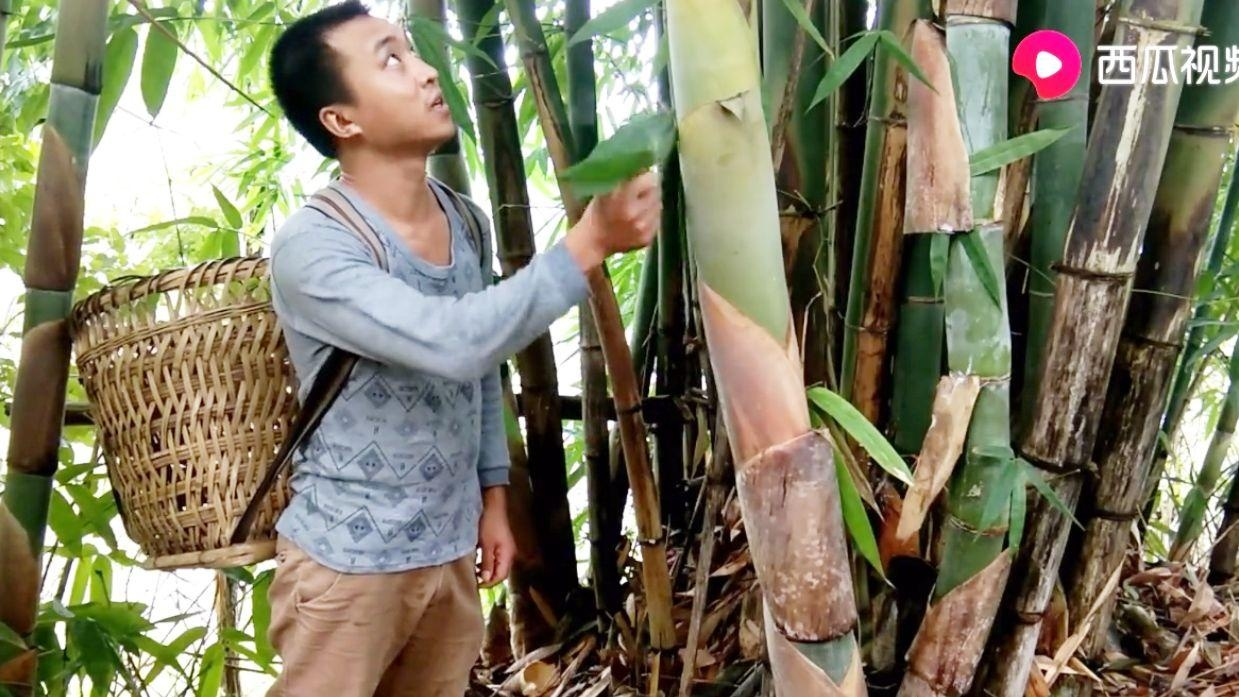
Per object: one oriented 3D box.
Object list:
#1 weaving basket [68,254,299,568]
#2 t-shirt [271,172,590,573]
[{"bbox_3d":[-0.858,0.132,1.990,0.460,0.600,0.152,-3,7,15],"label":"weaving basket"},{"bbox_3d":[-0.400,0.053,2.114,0.700,0.751,0.642,5,10,5],"label":"t-shirt"}]
